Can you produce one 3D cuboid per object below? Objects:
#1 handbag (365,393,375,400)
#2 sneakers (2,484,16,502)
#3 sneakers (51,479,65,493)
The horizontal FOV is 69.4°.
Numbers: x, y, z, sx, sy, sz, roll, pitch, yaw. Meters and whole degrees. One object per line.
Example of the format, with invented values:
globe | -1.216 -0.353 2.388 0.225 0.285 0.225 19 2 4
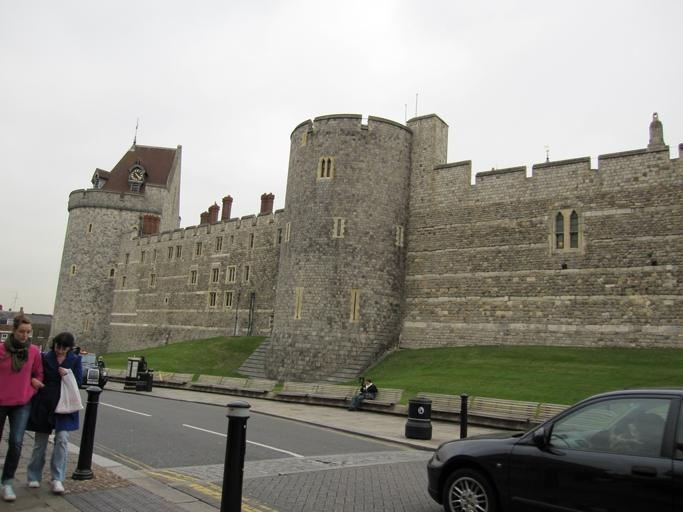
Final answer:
handbag | 1.228 5.686 20.057 0.293 0.153 0.385 1 -4 1
sneakers | -4.465 3.154 6.591 0.121 0.121 0.302 6 -12 -35
sneakers | -4.045 3.268 7.021 0.179 0.188 0.160 5 -13 -28
